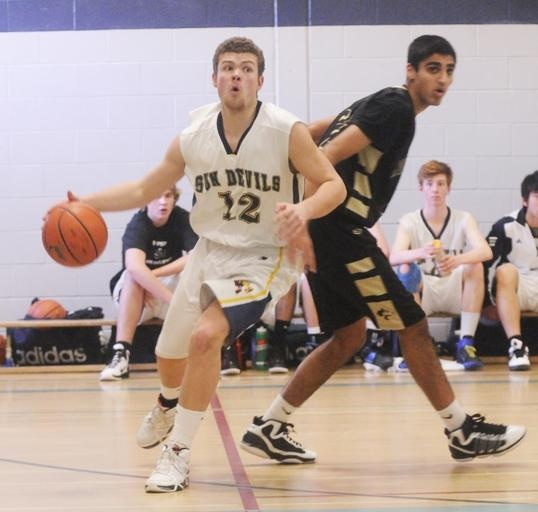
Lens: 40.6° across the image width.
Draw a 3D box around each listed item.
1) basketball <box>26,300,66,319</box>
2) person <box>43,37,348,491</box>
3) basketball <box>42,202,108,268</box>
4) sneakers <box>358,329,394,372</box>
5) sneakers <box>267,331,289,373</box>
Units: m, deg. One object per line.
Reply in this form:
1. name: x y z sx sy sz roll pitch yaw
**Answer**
1. basketball: -1.434 0.363 4.720 0.179 0.158 0.161 8 -9 -30
2. person: -0.160 -0.003 2.323 0.803 1.430 0.405 0 2 6
3. basketball: -0.669 -0.070 2.603 0.211 0.232 0.220 -18 17 -13
4. sneakers: 0.673 0.593 4.466 0.226 0.243 0.166 2 -7 -8
5. sneakers: 0.054 0.595 4.419 0.178 0.248 0.556 1 -5 -5
